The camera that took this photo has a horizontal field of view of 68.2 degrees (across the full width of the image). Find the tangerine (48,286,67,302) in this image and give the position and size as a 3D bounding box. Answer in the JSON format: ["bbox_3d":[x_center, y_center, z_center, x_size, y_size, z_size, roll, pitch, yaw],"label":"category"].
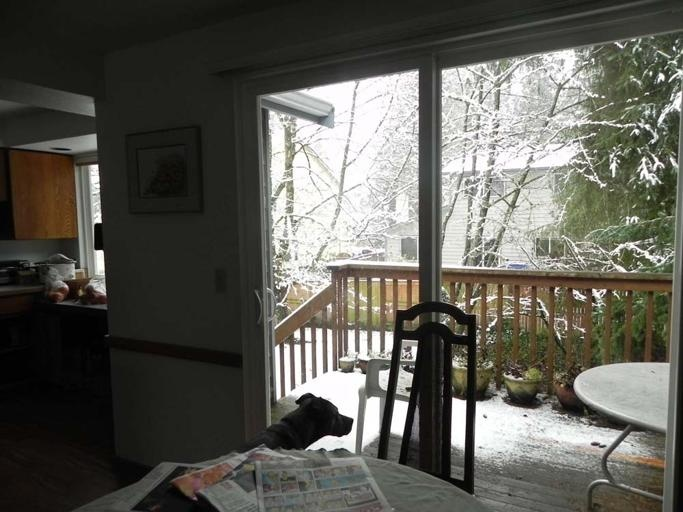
[{"bbox_3d":[-2.608,0.350,4.639,0.140,0.112,0.155,-3,12,5],"label":"tangerine"}]

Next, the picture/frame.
[{"bbox_3d":[-1.148,-0.530,3.229,0.509,0.455,0.029,-2,2,13],"label":"picture/frame"}]

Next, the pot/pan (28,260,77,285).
[{"bbox_3d":[-2.737,0.148,4.829,0.250,0.179,0.242,-2,-3,26],"label":"pot/pan"}]

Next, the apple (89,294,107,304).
[{"bbox_3d":[-2.139,0.375,4.434,0.124,0.060,0.124,-1,5,-38],"label":"apple"}]

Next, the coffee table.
[{"bbox_3d":[1.493,0.914,2.737,0.436,0.811,0.734,3,14,33],"label":"coffee table"}]

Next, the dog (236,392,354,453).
[{"bbox_3d":[-0.124,0.731,2.230,0.445,0.150,0.222,-32,-37,19],"label":"dog"}]
